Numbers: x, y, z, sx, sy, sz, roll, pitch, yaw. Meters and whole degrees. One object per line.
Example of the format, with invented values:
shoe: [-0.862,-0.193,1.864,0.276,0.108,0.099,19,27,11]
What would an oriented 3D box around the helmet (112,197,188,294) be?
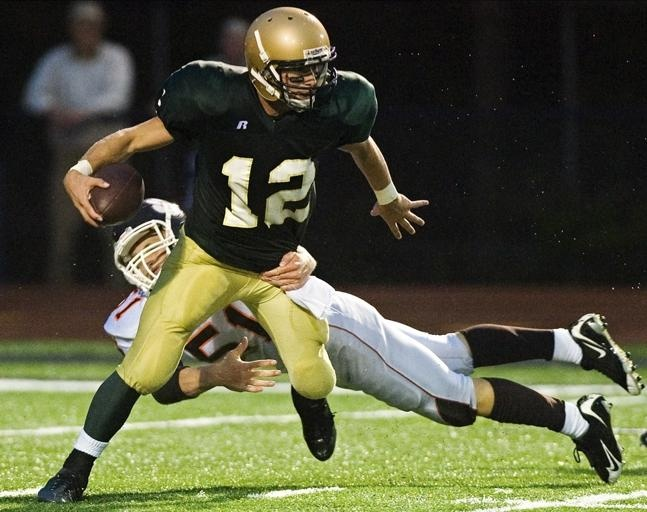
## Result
helmet: [-0.630,-0.042,3.254,0.234,0.206,0.285,41,36,-4]

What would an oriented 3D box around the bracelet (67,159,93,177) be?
bracelet: [-0.797,-0.282,2.939,0.058,0.053,0.065,25,1,-4]

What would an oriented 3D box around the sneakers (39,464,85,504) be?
sneakers: [-0.824,0.729,2.841,0.114,0.099,0.145,0,2,22]

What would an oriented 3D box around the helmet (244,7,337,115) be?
helmet: [-0.128,-0.668,2.983,0.347,0.272,0.289,31,42,33]

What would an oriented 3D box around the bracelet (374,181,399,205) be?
bracelet: [0.235,-0.235,3.393,0.085,0.063,0.085,-14,26,22]

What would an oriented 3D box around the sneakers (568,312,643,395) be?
sneakers: [1.331,0.474,4.199,0.488,0.171,0.246,40,5,0]

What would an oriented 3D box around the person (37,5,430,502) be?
person: [-0.263,-0.166,3.018,1.166,1.324,0.388,-1,1,-16]

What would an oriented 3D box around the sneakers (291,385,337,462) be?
sneakers: [-0.007,0.616,3.325,0.119,0.329,0.136,-16,7,12]

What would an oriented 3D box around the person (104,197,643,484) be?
person: [0.207,0.354,3.382,1.673,0.620,1.037,7,-4,7]
